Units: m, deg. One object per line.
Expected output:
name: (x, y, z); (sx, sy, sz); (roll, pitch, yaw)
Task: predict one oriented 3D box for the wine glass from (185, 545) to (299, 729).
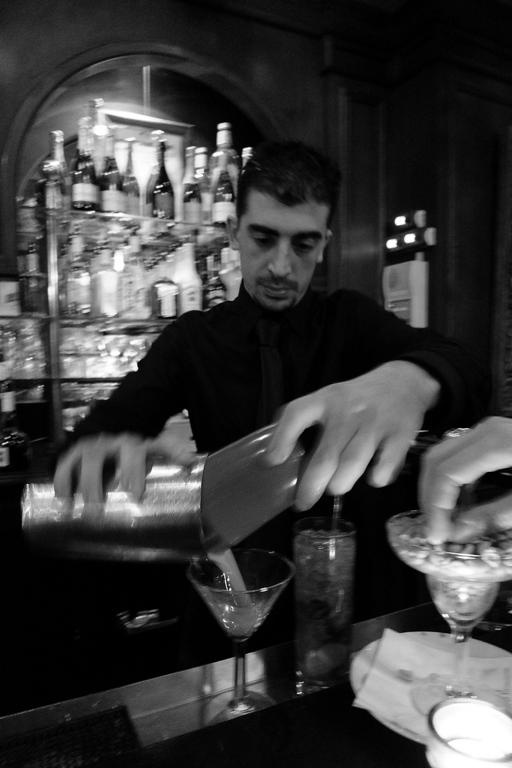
wine glass: (-0.004, 0.285, 0.814); (0.124, 0.177, 0.141); (0, 5, 5)
